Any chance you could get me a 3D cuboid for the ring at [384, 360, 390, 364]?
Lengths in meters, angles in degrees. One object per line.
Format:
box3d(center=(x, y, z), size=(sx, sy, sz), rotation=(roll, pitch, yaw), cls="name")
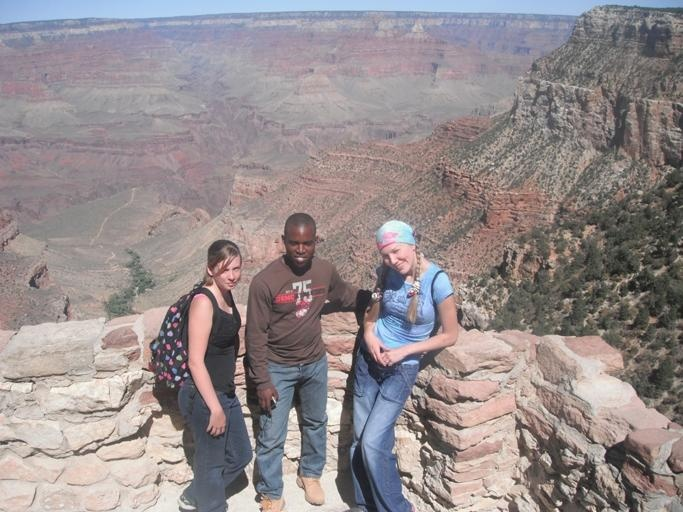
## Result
box3d(center=(0.505, 1.167, 6.599), size=(0.067, 0.044, 0.023), rotation=(4, 24, 17), cls="ring")
